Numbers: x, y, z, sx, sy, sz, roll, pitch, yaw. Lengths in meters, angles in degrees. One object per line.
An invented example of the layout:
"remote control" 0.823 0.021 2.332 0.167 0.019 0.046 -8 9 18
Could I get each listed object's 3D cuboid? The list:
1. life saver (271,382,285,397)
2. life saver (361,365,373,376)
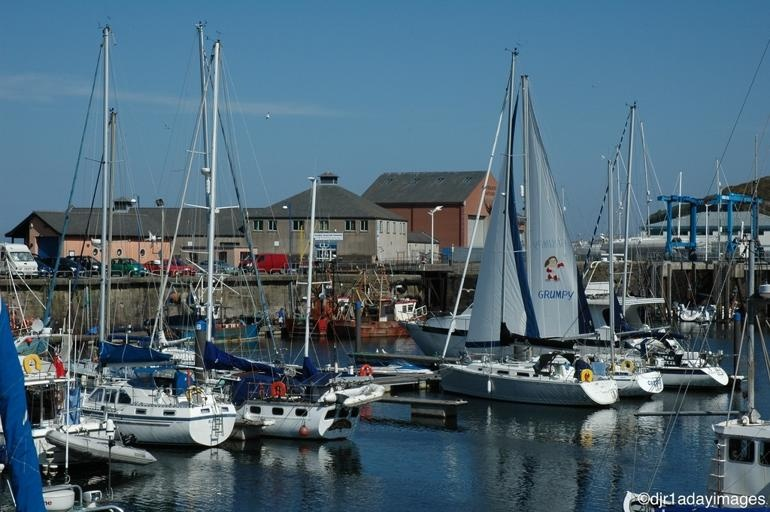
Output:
"life saver" -4.267 5.227 49.612 0.462 0.495 0.154 3 5 18
"life saver" -0.850 4.758 53.074 0.345 0.219 0.478 0 34 2
